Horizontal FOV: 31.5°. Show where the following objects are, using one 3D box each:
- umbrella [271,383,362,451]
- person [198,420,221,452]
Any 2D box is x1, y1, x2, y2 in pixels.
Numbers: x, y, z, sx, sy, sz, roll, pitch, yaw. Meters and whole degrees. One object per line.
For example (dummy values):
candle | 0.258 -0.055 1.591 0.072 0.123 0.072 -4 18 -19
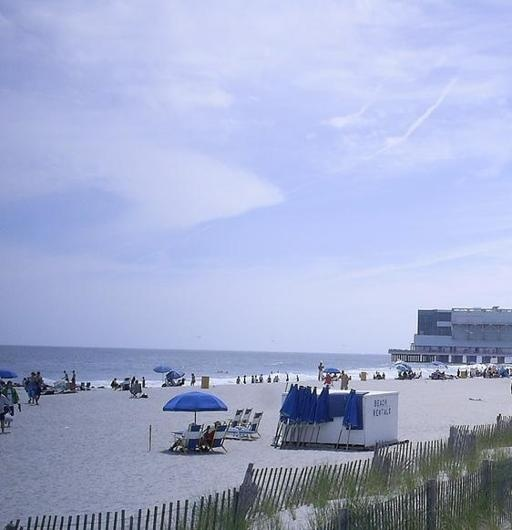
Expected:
umbrella | 1.471 3.722 21.879 2.174 1.509 0.650 2 -6 21
person | -1.089 4.066 21.497 0.444 0.672 0.877 5 -6 -2
